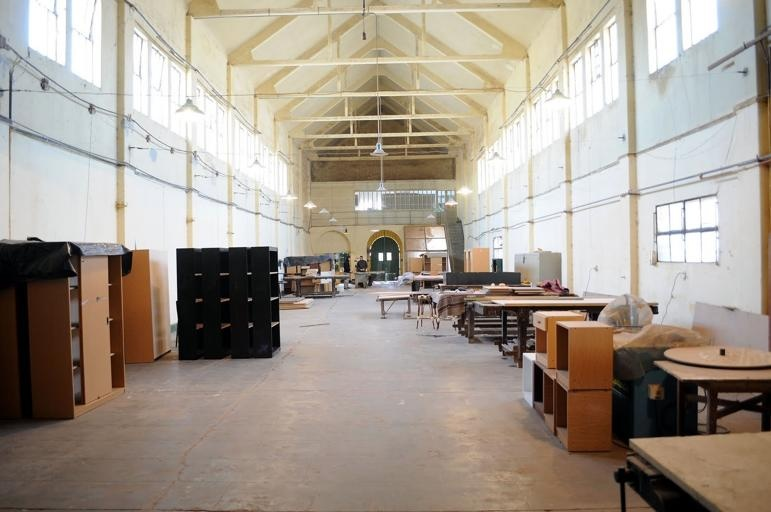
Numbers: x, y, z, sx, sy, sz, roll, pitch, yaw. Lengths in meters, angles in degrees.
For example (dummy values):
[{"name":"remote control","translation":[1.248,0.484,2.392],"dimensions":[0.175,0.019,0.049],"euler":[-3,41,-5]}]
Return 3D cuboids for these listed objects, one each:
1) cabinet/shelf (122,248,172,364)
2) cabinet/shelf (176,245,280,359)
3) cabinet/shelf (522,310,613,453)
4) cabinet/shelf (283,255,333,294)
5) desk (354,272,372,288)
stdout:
[{"name":"cabinet/shelf","translation":[-4.650,0.958,11.084],"dimensions":[0.541,2.183,1.019],"euler":[0,10,4]},{"name":"cabinet/shelf","translation":[-3.150,0.897,12.306],"dimensions":[1.926,2.484,2.500],"euler":[-1,-3,-5]},{"name":"cabinet/shelf","translation":[2.404,1.698,7.593],"dimensions":[0.503,1.382,1.620],"euler":[0,-3,4]},{"name":"cabinet/shelf","translation":[-3.200,0.816,23.561],"dimensions":[1.454,1.336,1.916],"euler":[0,-4,-4]},{"name":"desk","translation":[-1.297,1.208,29.767],"dimensions":[0.655,0.769,1.153],"euler":[-2,4,3]}]
